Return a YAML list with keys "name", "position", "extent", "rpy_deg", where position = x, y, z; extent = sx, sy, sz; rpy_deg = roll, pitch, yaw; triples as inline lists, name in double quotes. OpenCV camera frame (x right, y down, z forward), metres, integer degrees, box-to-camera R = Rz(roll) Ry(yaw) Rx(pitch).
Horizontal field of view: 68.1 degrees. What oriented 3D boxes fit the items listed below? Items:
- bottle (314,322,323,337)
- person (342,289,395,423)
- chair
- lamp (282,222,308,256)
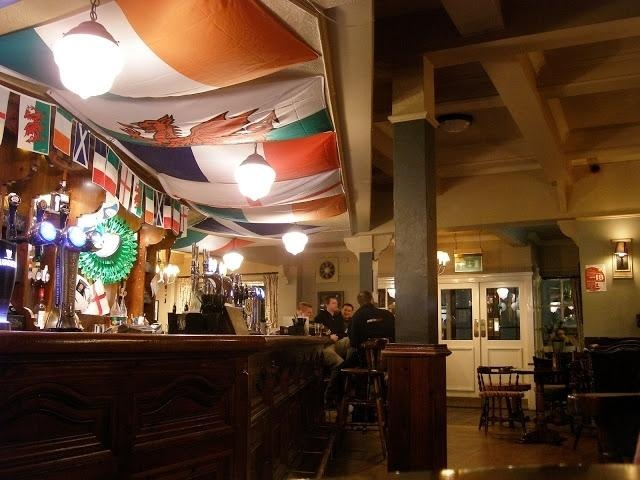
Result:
- name: "bottle"
  position: [-0.053, 1.320, 6.869]
  extent: [0.135, 0.204, 0.135]
  rpy_deg: [-1, -1, 0]
- name: "person"
  position: [0.811, 1.268, 6.744]
  extent: [0.509, 1.400, 0.760]
  rpy_deg: [-15, 22, 4]
- name: "chair"
  position: [3.169, 2.785, 8.288]
  extent: [0.877, 1.099, 0.760]
  rpy_deg: [-10, -16, 25]
- name: "lamp"
  position: [-0.484, -0.010, 8.978]
  extent: [0.548, 0.640, 0.562]
  rpy_deg: [0, 3, 43]
